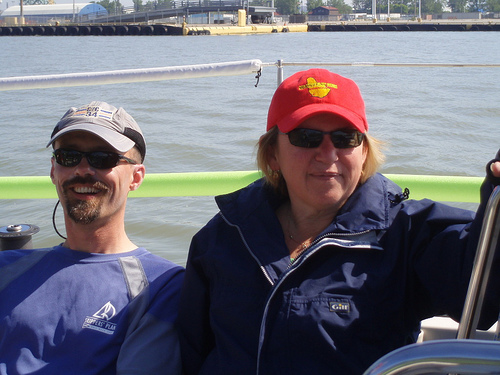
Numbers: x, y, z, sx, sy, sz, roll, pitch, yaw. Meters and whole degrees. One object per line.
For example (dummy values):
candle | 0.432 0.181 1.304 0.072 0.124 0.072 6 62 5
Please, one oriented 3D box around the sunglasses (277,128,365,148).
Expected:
sunglasses | 0.325 -0.217 3.502 0.337 0.086 0.057 1 11 9

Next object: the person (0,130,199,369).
person | -0.819 0.366 4.339 1.154 1.229 0.629 -2 -31 2

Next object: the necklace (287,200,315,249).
necklace | 0.218 0.178 3.651 0.084 0.151 0.259 -4 12 -14
